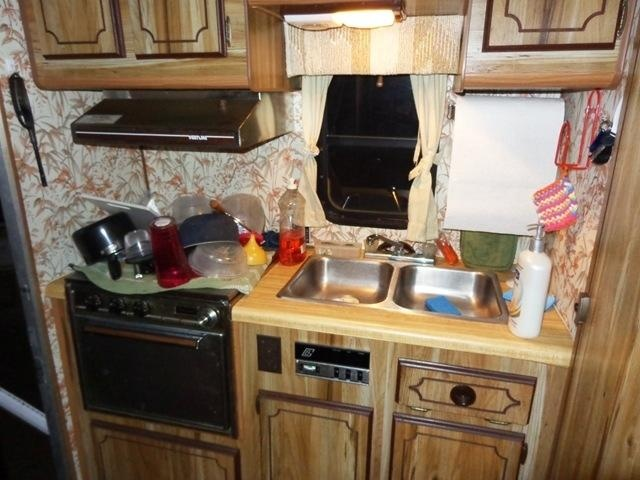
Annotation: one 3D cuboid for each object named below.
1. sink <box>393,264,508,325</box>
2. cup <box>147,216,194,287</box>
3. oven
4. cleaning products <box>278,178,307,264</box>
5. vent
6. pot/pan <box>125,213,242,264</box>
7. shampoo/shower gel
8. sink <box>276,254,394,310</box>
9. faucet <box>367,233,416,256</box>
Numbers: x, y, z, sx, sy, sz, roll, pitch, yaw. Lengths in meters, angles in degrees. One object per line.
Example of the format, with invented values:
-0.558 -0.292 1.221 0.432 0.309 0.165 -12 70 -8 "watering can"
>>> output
0.531 0.257 2.057 0.439 0.158 0.402 4 20 10 "sink"
-0.583 0.050 1.948 0.141 0.264 0.109 3 21 8 "cup"
-0.654 0.443 2.217 0.726 0.641 0.501 4 16 13 "oven"
-0.131 -0.076 2.303 0.120 0.349 0.201 0 21 -2 "cleaning products"
-0.588 -0.525 2.113 0.791 0.227 0.510 5 20 11 "vent"
-0.539 -0.069 1.971 0.347 0.172 0.224 -20 9 -1 "pot/pan"
0.752 0.147 1.746 0.118 0.399 0.130 11 23 25 "shampoo/shower gel"
0.085 0.220 2.148 0.447 0.160 0.395 5 20 10 "sink"
0.332 0.020 2.326 0.292 0.085 0.106 11 6 27 "faucet"
